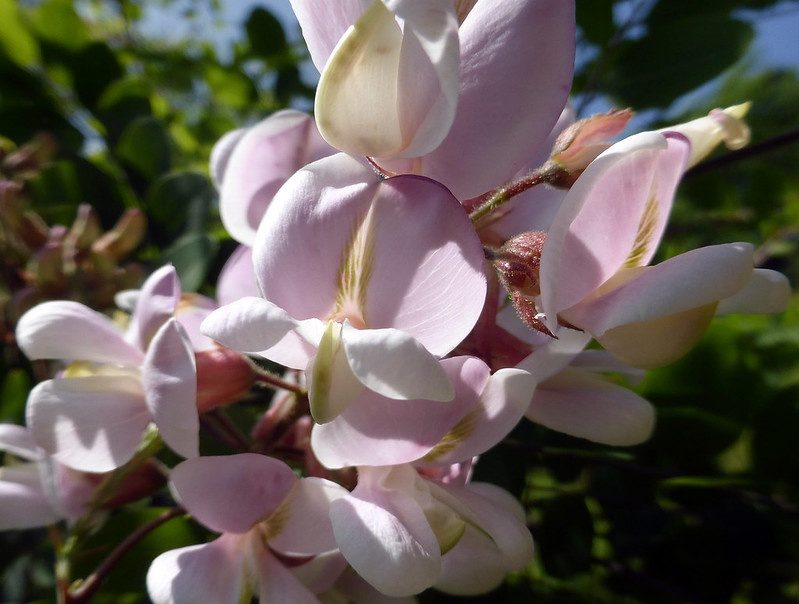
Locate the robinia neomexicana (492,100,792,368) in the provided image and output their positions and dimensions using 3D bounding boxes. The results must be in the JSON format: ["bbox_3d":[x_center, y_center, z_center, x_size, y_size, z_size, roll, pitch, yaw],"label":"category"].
[{"bbox_3d":[0.260,-0.077,0.933,0.320,0.118,0.267,-20,74,-3],"label":"robinia neomexicana"}]
